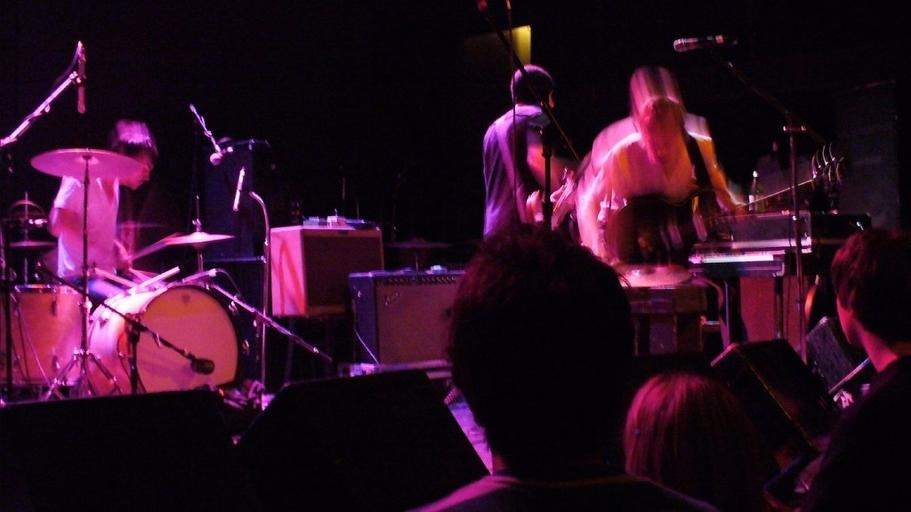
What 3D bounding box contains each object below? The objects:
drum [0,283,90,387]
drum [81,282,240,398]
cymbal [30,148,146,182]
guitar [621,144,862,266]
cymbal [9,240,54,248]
[{"bbox_3d":[-4.072,0.779,7.831,1.052,0.997,0.567,0,-2,-11],"label":"drum"},{"bbox_3d":[-2.985,0.795,8.219,1.357,1.363,1.314,3,2,32],"label":"drum"},{"bbox_3d":[-3.573,-0.896,7.673,0.545,0.127,0.550,-13,-15,35],"label":"cymbal"},{"bbox_3d":[2.587,-0.277,7.650,1.973,0.700,1.453,-4,1,-15],"label":"guitar"},{"bbox_3d":[-4.419,-0.119,8.191,0.397,0.079,0.436,-3,0,44],"label":"cymbal"}]
